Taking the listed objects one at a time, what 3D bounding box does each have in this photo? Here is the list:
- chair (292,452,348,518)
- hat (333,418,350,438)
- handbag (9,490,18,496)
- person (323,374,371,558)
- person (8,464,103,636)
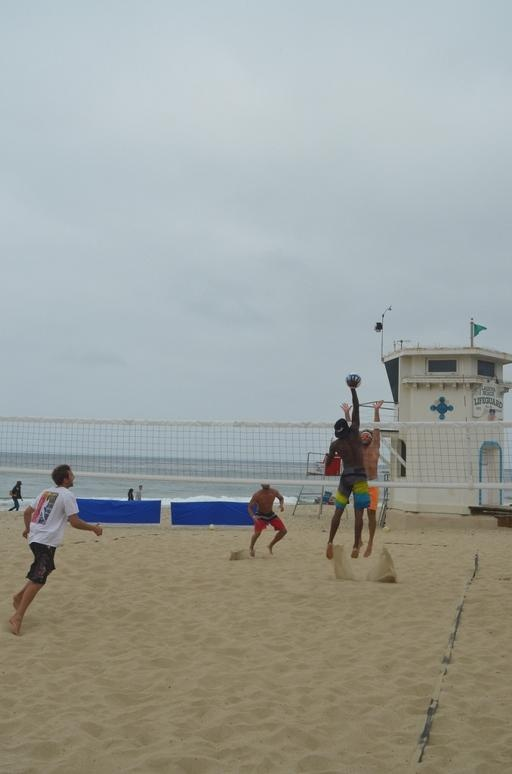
[{"bbox_3d":[1.141,1.618,13.830,0.747,0.837,0.711,8,-3,-43],"label":"chair"},{"bbox_3d":[0.799,0.387,7.160,0.141,0.171,0.340,0,-3,6],"label":"hat"},{"bbox_3d":[-5.885,2.557,18.659,0.170,0.118,0.164,5,-6,-30],"label":"handbag"},{"bbox_3d":[0.877,0.810,7.343,0.397,1.814,1.291,0,-3,7],"label":"person"},{"bbox_3d":[-1.440,1.088,5.549,0.595,1.086,1.495,1,-3,-12],"label":"person"}]
